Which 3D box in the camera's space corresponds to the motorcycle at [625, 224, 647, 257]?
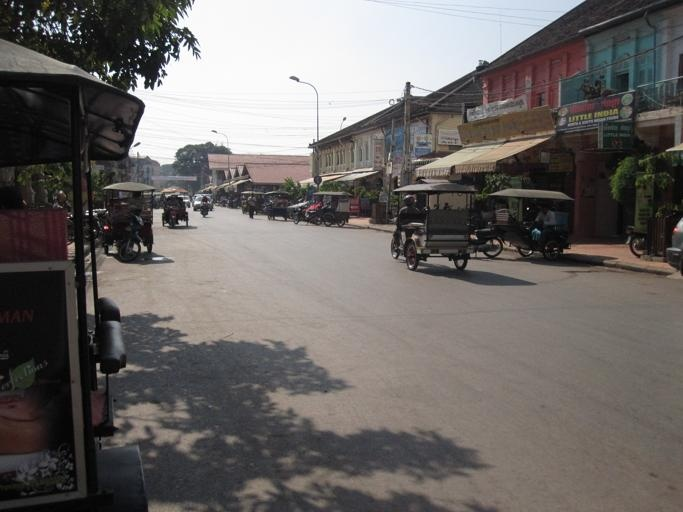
[{"bbox_3d":[8.498,-0.408,17.221,0.443,0.799,1.478,3,7,22],"label":"motorcycle"}]
